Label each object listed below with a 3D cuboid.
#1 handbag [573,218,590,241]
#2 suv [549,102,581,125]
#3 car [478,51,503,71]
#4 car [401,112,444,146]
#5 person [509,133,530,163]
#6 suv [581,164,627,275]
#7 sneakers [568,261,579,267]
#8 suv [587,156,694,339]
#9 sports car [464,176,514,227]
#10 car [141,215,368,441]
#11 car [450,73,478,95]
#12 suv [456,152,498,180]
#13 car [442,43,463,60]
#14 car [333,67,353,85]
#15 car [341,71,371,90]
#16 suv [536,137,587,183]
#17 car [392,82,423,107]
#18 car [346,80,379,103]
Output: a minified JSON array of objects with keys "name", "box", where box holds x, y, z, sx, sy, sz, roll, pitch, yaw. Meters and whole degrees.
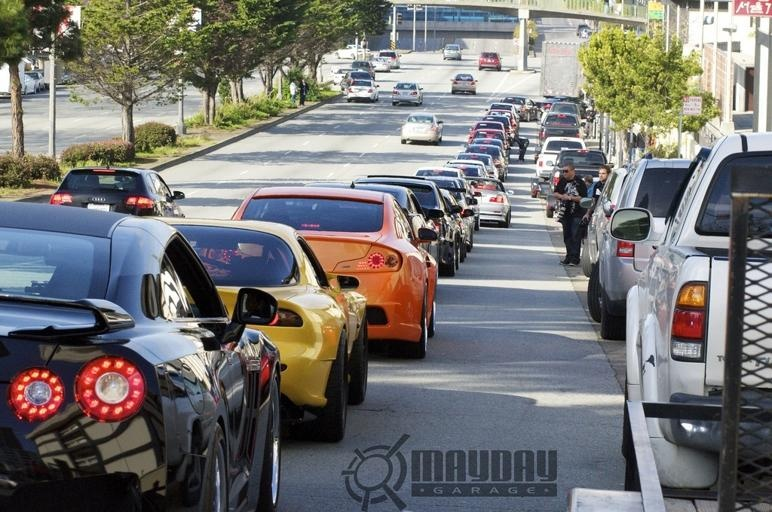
[{"name":"handbag","box":[4.194,-0.544,22.347,0.327,0.462,0.458,5,-3,9]},{"name":"suv","box":[11.642,-9.009,67.249,1.401,1.107,3.217,4,12,16]},{"name":"car","box":[13.387,-24.526,132.564,2.511,2.182,5.453,1,13,9]},{"name":"car","box":[2.002,-7.169,60.149,1.953,1.783,2.446,3,13,17]},{"name":"person","box":[8.254,-6.433,63.128,1.271,0.730,2.488,5,11,2]},{"name":"suv","box":[3.362,-0.562,16.191,1.015,0.961,1.997,0,13,9]},{"name":"sneakers","box":[4.236,0.199,23.444,0.227,0.089,0.104,1,3,6]},{"name":"suv","box":[3.270,-0.380,13.820,1.114,1.231,2.564,0,12,5]},{"name":"sports car","box":[3.290,-1.681,33.548,1.520,1.153,3.477,2,11,8]},{"name":"car","box":[-0.779,0.515,8.559,1.100,0.828,2.337,2,6,6]},{"name":"car","box":[7.286,-15.787,97.211,2.147,1.735,2.317,-1,13,1]},{"name":"suv","box":[4.064,-3.783,44.675,0.981,0.780,2.261,3,10,10]},{"name":"car","box":[9.533,-28.809,149.191,2.338,1.980,4.108,0,13,2]},{"name":"car","box":[-4.488,-17.647,102.560,1.435,1.102,3.259,1,17,7]},{"name":"car","box":[-2.516,-15.061,90.210,1.456,1.131,3.377,1,12,6]},{"name":"suv","box":[6.818,-3.898,41.885,1.277,1.057,2.372,2,17,6]},{"name":"car","box":[1.733,-12.551,82.195,1.909,1.738,2.461,3,13,17]},{"name":"car","box":[-1.828,-13.105,83.590,1.901,1.812,2.440,7,15,32]}]
